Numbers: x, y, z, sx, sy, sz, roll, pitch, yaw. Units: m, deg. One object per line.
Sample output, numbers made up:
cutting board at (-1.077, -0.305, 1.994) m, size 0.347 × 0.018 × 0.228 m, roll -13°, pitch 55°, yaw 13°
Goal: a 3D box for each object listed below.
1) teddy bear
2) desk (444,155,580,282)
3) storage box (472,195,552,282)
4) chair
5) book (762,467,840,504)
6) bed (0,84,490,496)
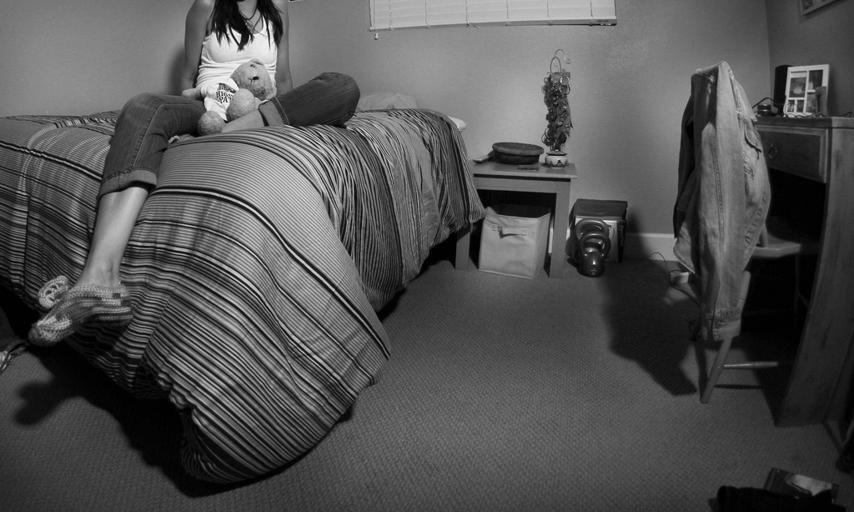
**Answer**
teddy bear at (-0.901, -0.757, 2.531) m, size 0.436 × 0.228 × 0.594 m, roll 19°, pitch 20°, yaw -18°
desk at (0.588, -0.272, 3.528) m, size 0.685 × 0.666 × 0.715 m, roll 5°, pitch 10°, yaw 19°
storage box at (0.547, -0.150, 3.480) m, size 0.431 × 0.445 × 0.453 m, roll 8°, pitch 15°, yaw 14°
chair at (1.296, -0.093, 2.322) m, size 0.487 × 1.376 × 0.494 m, roll 8°, pitch 16°, yaw 23°
book at (1.365, 0.841, 2.001) m, size 0.141 × 0.034 × 0.135 m, roll 6°, pitch 14°, yaw 30°
bed at (-0.493, 0.094, 2.320) m, size 1.557 × 0.700 × 1.617 m, roll 11°, pitch 18°, yaw 36°
